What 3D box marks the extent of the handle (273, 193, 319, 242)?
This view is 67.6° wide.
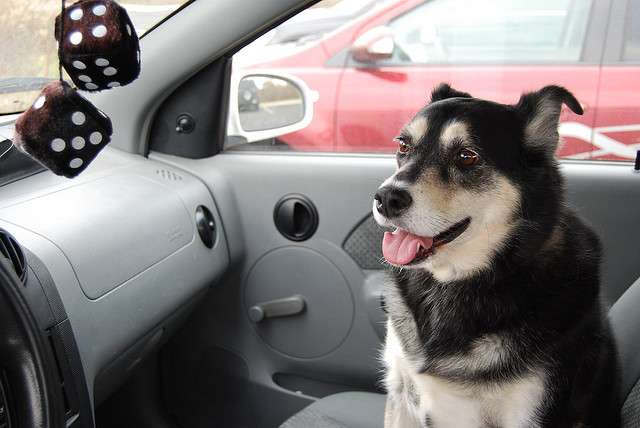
[{"bbox_3d":[-0.126,0.023,2.327,0.235,0.237,0.063,-1,8,14],"label":"handle"}]

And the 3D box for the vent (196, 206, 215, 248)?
[{"bbox_3d":[-0.537,0.048,2.269,0.065,0.195,0.197,-6,5,-4],"label":"vent"}]

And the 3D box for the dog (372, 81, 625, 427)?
[{"bbox_3d":[0.507,0.300,1.799,0.907,1.184,0.842,-5,49,-7],"label":"dog"}]
